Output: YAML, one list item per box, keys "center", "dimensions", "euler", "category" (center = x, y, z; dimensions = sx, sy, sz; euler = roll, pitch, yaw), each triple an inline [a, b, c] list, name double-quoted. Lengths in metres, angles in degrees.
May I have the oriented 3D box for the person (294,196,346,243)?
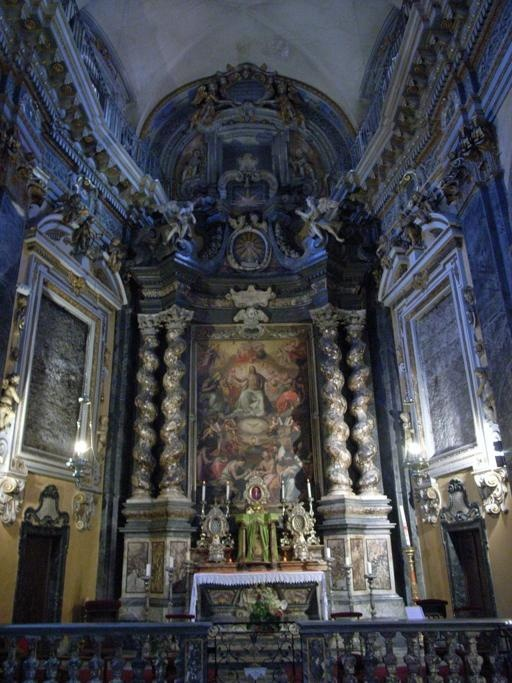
- center: [1.054, -2.013, 8.739]
  dimensions: [0.349, 0.818, 0.790]
  euler: [-21, 32, -37]
  category: "person"
